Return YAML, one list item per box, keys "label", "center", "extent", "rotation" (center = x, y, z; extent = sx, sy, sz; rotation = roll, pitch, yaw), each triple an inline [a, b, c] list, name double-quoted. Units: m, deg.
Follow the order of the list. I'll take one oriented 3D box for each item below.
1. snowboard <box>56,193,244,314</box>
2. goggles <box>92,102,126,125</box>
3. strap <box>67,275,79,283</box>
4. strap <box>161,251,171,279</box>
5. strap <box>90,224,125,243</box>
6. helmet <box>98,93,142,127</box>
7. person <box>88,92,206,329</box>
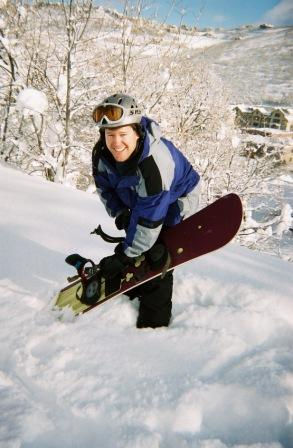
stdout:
- label: "snowboard"
  center: [0.063, 0.290, 3.373]
  extent: [1.478, 0.388, 0.260]
  rotation: [-31, -33, 4]
- label: "goggles"
  center: [-0.278, -0.756, 2.658]
  extent: [0.286, 0.151, 0.112]
  rotation: [12, 13, 39]
- label: "strap"
  center: [-0.608, 0.455, 3.226]
  extent: [0.058, 0.026, 0.078]
  rotation: [-19, 2, -10]
- label: "strap"
  center: [0.172, 0.334, 3.203]
  extent: [0.043, 0.244, 0.031]
  rotation: [16, -31, 9]
- label: "strap"
  center: [-0.315, 0.110, 3.307]
  extent: [0.214, 0.049, 0.169]
  rotation: [21, 1, -18]
- label: "helmet"
  center: [-0.166, -0.784, 2.634]
  extent: [0.214, 0.220, 0.276]
  rotation: [1, -14, 11]
- label: "person"
  center: [-0.035, -0.105, 3.164]
  extent: [0.913, 1.727, 0.965]
  rotation: [5, 11, 6]
